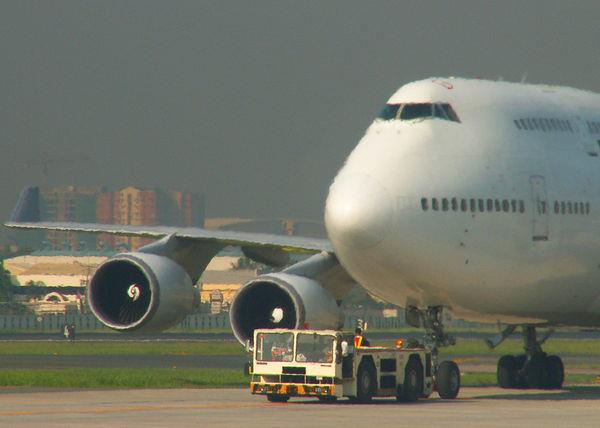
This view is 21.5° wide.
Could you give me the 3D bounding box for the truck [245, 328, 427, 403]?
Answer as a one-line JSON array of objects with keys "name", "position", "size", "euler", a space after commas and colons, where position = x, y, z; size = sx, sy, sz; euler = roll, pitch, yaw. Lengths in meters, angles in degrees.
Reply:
[{"name": "truck", "position": [1.185, 4.436, 46.698], "size": [5.224, 2.104, 1.656], "euler": [2, -10, -6]}]
